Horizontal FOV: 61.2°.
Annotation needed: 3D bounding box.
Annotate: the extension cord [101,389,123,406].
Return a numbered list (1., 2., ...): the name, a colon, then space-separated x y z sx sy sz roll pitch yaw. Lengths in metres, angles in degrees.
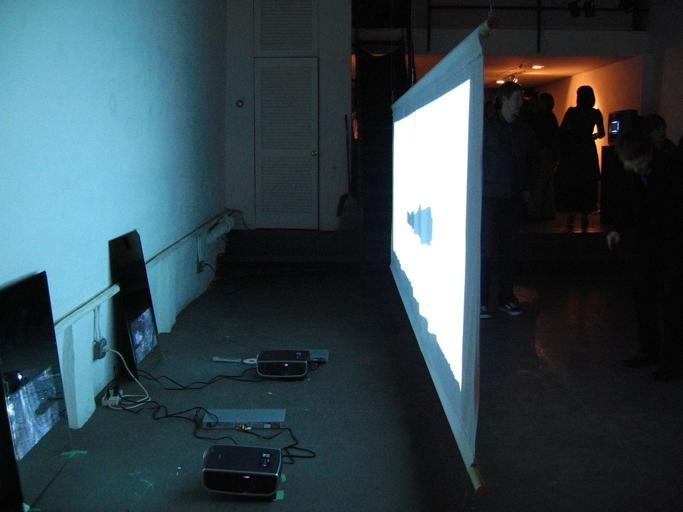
1. extension cord: -1.510 0.927 3.759 0.074 0.033 0.134 2 9 -6

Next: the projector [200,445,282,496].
1. projector: -0.528 1.125 3.027 0.406 0.191 0.230 0 14 1

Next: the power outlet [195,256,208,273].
1. power outlet: -1.544 0.103 6.276 0.102 0.155 0.149 0 3 -3
